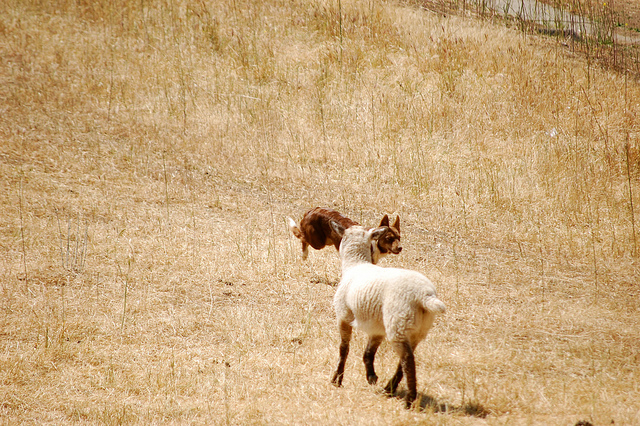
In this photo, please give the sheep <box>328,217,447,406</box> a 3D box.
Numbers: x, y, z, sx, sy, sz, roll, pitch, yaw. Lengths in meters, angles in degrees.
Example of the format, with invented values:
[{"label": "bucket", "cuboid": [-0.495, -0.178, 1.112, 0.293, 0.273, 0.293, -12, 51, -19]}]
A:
[{"label": "sheep", "cuboid": [0.911, 1.786, 14.345, 2.166, 2.093, 1.073, 36, 38, 29]}]
